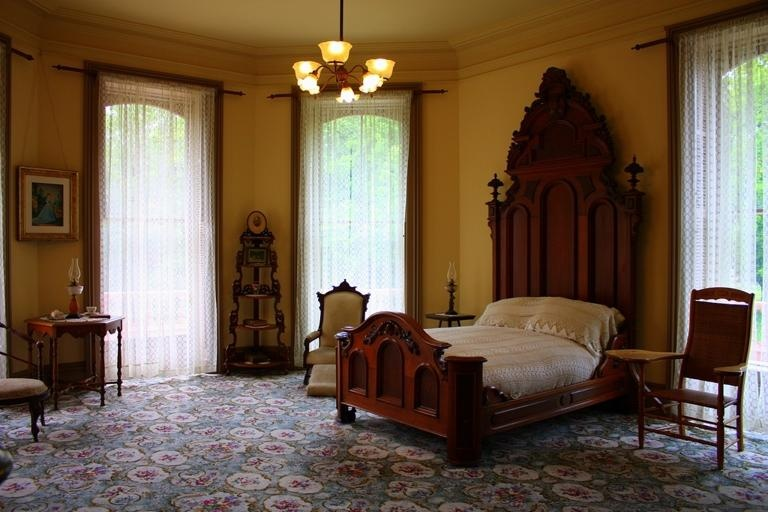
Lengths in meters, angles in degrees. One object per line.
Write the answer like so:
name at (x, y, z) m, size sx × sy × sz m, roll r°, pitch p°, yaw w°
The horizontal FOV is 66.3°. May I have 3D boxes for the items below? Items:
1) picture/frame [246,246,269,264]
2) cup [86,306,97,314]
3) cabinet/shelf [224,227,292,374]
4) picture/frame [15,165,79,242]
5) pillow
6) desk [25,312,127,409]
picture/frame at (-1.853, 0.003, 8.760) m, size 0.436 × 0.320 × 0.239 m, roll 1°, pitch -4°, yaw -8°
cup at (-3.750, 0.687, 7.547) m, size 0.149 × 0.090 × 0.139 m, roll -1°, pitch -7°, yaw 0°
cabinet/shelf at (-1.873, 0.649, 8.679) m, size 0.899 × 2.111 × 0.901 m, roll 7°, pitch 10°, yaw 36°
picture/frame at (-4.384, -0.691, 7.674) m, size 0.759 × 0.959 × 0.222 m, roll -5°, pitch 10°, yaw -31°
pillow at (2.033, 0.804, 7.178) m, size 1.403 × 0.535 × 0.566 m, roll 7°, pitch 10°, yaw 39°
desk at (-4.014, 1.260, 7.495) m, size 1.343 × 1.077 × 1.114 m, roll -1°, pitch -3°, yaw -3°
